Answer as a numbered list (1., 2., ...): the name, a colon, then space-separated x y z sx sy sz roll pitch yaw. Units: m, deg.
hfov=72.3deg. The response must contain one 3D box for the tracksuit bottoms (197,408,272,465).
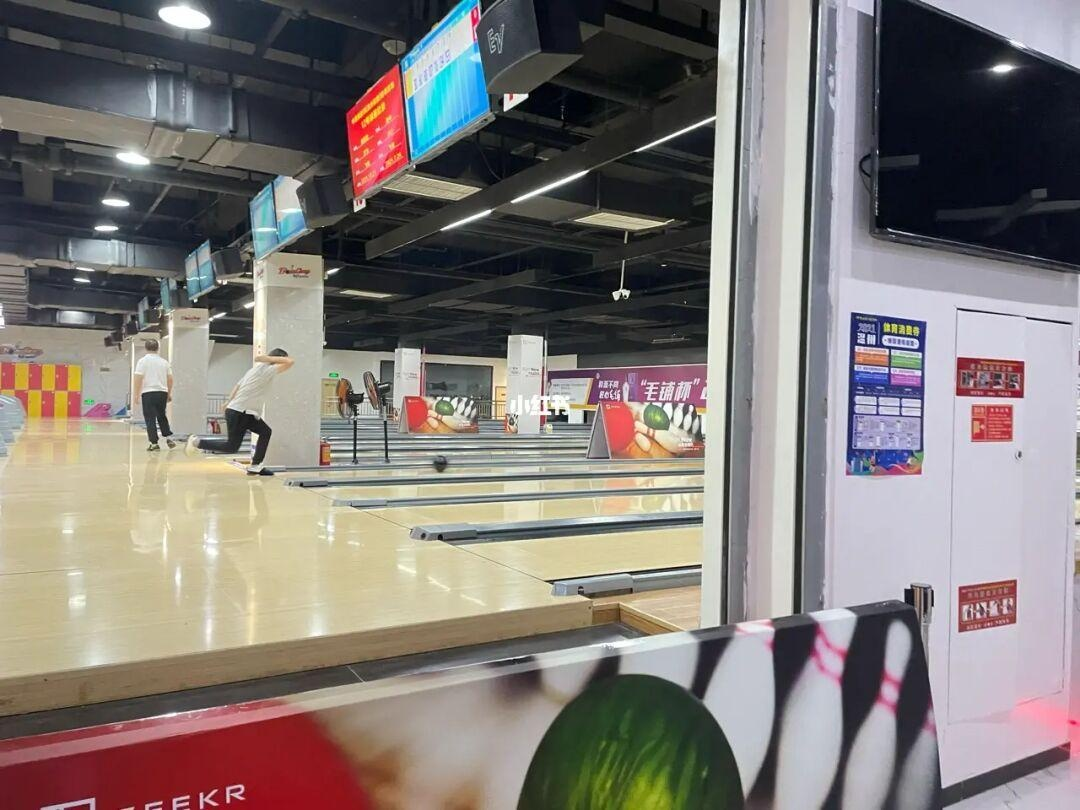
1. tracksuit bottoms: -2.776 0.305 6.835 0.282 0.545 0.522 -8 -10 44

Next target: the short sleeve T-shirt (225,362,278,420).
1. short sleeve T-shirt: -2.668 -0.168 6.860 0.434 0.533 0.545 -1 -14 -23

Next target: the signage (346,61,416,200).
1. signage: -1.116 -1.933 5.186 0.138 1.002 1.249 -1 -13 -27

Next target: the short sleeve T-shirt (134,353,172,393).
1. short sleeve T-shirt: -4.567 -0.387 8.752 0.403 0.515 0.311 6 -19 -44
